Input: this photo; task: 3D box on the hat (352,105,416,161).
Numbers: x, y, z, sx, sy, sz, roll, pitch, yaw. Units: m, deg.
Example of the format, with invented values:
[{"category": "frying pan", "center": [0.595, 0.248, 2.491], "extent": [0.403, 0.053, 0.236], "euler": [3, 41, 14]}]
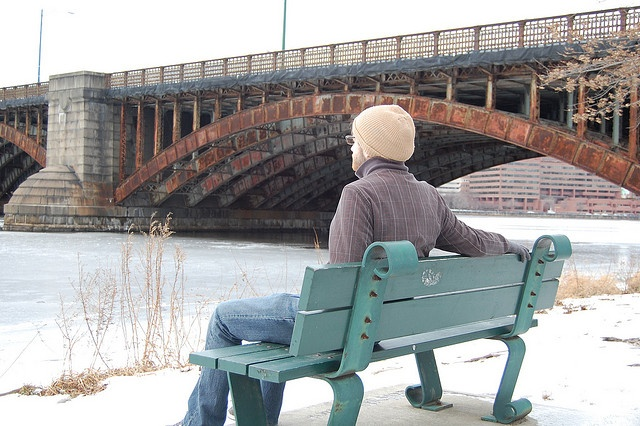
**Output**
[{"category": "hat", "center": [0.701, -0.785, 7.714], "extent": [0.488, 0.548, 0.593], "euler": [3, 23, -31]}]
